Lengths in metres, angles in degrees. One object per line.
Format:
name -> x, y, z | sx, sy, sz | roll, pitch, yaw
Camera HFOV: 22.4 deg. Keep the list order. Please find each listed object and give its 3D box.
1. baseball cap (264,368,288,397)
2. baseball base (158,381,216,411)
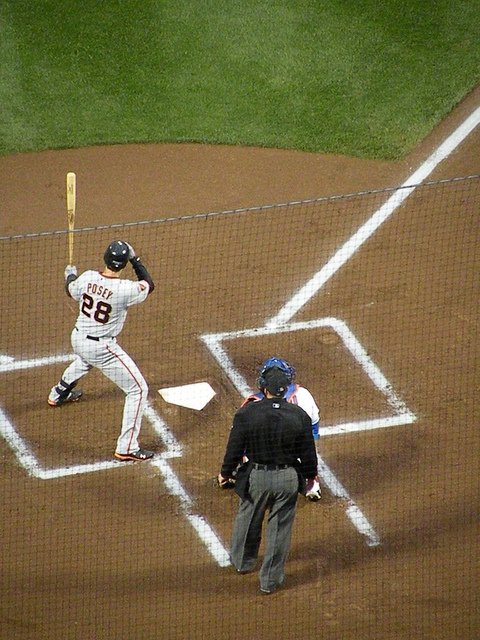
baseball cap -> 0.291, 0.539, 10.623 | 0.180, 0.213, 0.216 | -2, 41, -4
baseball base -> -0.556, 0.754, 12.611 | 0.546, 0.145, 0.378 | 22, 35, 13
